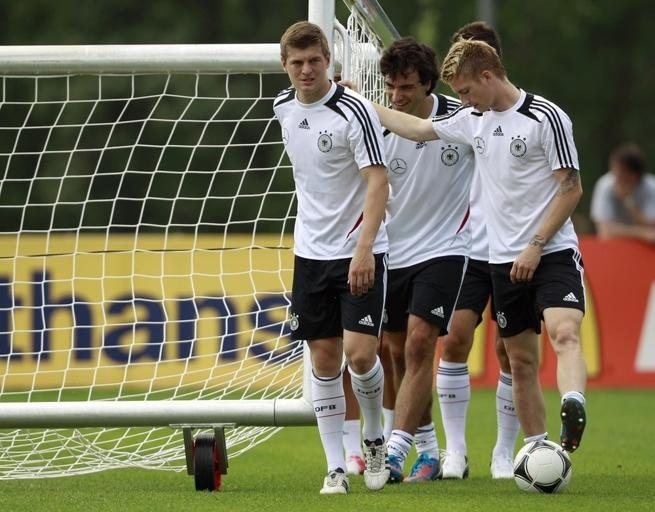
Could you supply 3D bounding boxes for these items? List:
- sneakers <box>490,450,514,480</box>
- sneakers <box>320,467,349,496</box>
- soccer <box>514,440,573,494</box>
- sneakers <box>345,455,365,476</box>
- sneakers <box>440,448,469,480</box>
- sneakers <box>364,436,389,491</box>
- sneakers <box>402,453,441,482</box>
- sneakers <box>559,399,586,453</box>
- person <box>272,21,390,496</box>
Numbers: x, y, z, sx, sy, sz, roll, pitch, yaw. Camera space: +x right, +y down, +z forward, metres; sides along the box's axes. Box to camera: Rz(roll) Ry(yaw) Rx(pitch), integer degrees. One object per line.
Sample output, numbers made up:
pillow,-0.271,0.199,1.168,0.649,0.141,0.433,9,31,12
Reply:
sneakers,1.178,1.386,6.838,0.151,0.173,0.207,-1,1,9
sneakers,0.046,1.366,6.186,0.144,0.167,0.405,-1,-9,5
soccer,1.307,1.252,6.232,0.302,0.324,0.308,-12,-9,-27
sneakers,0.185,1.410,6.889,0.162,0.181,0.393,1,-12,-3
sneakers,0.852,1.381,6.784,0.131,0.161,0.376,0,-14,9
sneakers,0.305,1.274,6.241,0.115,0.354,0.143,-3,-13,7
sneakers,0.633,1.392,6.731,0.216,0.157,0.326,-1,1,13
sneakers,1.411,0.954,5.838,0.112,0.335,0.175,3,-1,8
person,0.040,-0.018,6.188,0.656,2.884,0.452,-1,1,-1
